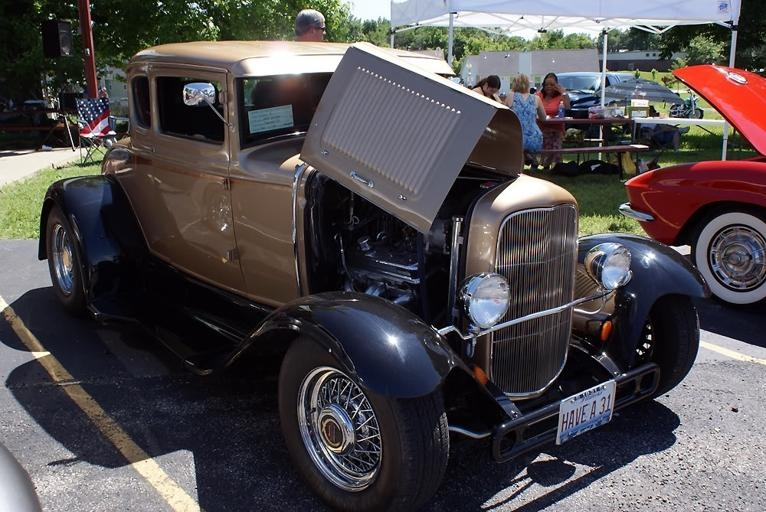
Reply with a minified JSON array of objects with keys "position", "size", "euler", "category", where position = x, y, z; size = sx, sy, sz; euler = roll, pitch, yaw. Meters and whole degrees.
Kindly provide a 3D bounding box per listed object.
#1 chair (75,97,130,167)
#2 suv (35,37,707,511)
[{"position":[-7.125,-3.051,13.815],"size":[0.941,1.453,1.102],"euler":[-7,5,5],"category":"chair"},{"position":[-0.854,-0.164,5.002],"size":[3.029,2.890,5.435],"euler":[-16,27,-41],"category":"suv"}]
